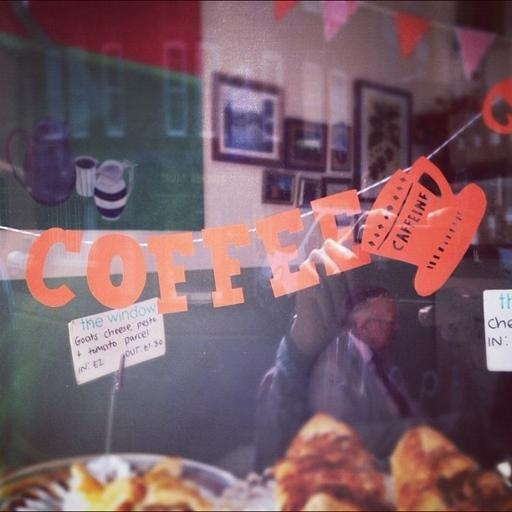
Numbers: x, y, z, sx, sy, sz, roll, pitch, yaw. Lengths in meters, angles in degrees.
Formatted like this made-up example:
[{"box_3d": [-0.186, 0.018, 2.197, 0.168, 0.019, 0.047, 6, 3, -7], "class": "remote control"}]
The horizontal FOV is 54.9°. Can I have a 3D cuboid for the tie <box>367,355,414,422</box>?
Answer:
[{"box_3d": [0.435, 0.414, 1.577, 0.036, 0.048, 0.201, -24, 90, 27], "class": "tie"}]

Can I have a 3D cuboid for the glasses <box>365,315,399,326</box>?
[{"box_3d": [0.402, 0.206, 1.571, 0.089, 0.014, 0.021, 1, 88, -2], "class": "glasses"}]
